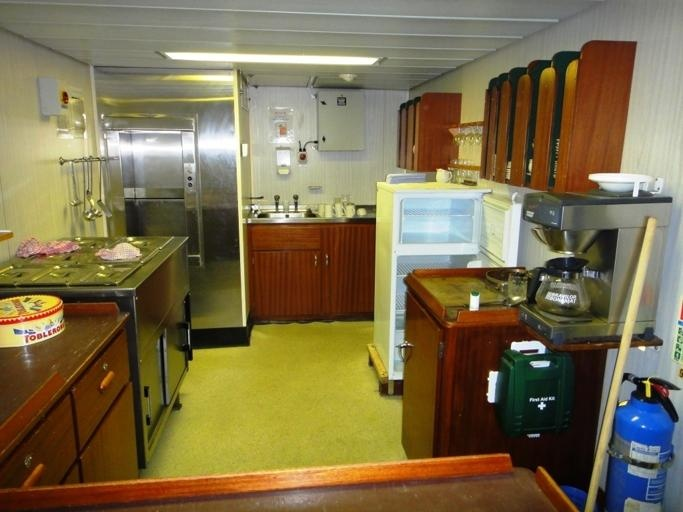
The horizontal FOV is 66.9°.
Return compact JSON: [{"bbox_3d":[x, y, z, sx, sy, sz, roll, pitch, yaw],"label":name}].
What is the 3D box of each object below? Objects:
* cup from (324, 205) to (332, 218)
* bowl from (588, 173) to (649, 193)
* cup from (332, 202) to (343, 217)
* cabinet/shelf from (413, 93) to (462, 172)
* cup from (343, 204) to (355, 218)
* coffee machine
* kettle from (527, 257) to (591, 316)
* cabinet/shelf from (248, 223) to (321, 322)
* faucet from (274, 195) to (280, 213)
[{"bbox_3d":[-0.127,-0.472,5.522,0.093,0.149,0.156,0,2,-6],"label":"cup"},{"bbox_3d":[1.321,-0.341,2.421,0.256,0.079,0.261,-2,12,0],"label":"bowl"},{"bbox_3d":[-0.019,-0.492,5.521,0.102,0.127,0.182,-2,13,-1],"label":"cup"},{"bbox_3d":[0.861,-1.064,4.474,0.366,0.653,0.168,0,13,10],"label":"cabinet/shelf"},{"bbox_3d":[0.098,-0.468,5.476,0.155,0.147,0.096,-4,10,-24],"label":"cup"},{"bbox_3d":[1.225,0.040,2.436,0.658,0.679,0.362,-4,13,-9],"label":"coffee machine"},{"bbox_3d":[1.043,0.147,2.457,0.212,0.289,0.295,-6,7,-37],"label":"kettle"},{"bbox_3d":[-0.546,0.155,5.701,0.969,1.367,0.916,-1,6,-6],"label":"cabinet/shelf"},{"bbox_3d":[-0.717,-0.586,5.807,0.068,0.187,0.285,-3,13,-6],"label":"faucet"}]
